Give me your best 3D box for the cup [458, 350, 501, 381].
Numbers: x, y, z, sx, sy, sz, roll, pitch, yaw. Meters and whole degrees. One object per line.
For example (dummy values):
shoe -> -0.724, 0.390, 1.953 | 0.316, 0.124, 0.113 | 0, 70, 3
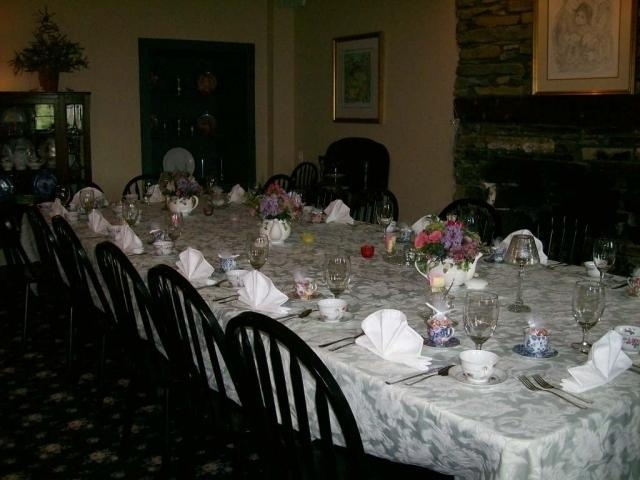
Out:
cup -> 0.460, 0.341, 1.376 | 0.074, 0.061, 0.094 | -1, 16, -12

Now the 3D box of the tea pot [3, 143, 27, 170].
tea pot -> -3.540, -0.969, 5.639 | 0.220, 0.320, 0.297 | -2, 1, -35

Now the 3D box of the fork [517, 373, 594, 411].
fork -> 0.641, 0.405, 1.326 | 0.051, 0.023, 0.175 | 0, 5, -34
